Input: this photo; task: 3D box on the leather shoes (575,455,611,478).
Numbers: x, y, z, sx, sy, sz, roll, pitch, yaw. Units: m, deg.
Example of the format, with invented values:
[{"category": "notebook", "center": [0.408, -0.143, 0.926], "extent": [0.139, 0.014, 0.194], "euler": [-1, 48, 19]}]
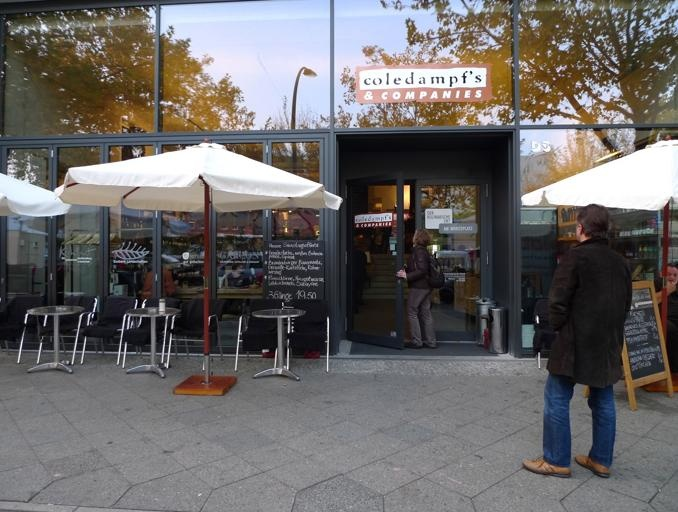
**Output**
[{"category": "leather shoes", "center": [2.382, 1.981, 5.437], "extent": [0.113, 0.121, 0.294], "euler": [-6, 13, -24]}]

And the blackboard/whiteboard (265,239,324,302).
[{"category": "blackboard/whiteboard", "center": [-0.660, 0.254, 8.852], "extent": [1.036, 0.930, 0.104], "euler": [0, -3, 5]}]

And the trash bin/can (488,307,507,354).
[{"category": "trash bin/can", "center": [2.492, 1.174, 9.075], "extent": [0.311, 0.693, 0.283], "euler": [4, 11, 19]}]

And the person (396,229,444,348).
[{"category": "person", "center": [1.337, 0.547, 9.543], "extent": [0.692, 1.916, 0.750], "euler": [3, 11, 14]}]

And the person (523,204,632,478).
[{"category": "person", "center": [2.252, 0.788, 5.379], "extent": [0.725, 2.496, 0.731], "euler": [5, 12, 26]}]

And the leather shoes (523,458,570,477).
[{"category": "leather shoes", "center": [1.931, 1.987, 5.408], "extent": [0.422, 0.153, 0.150], "euler": [4, -6, 22]}]

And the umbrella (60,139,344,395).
[{"category": "umbrella", "center": [-1.798, 0.271, 7.797], "extent": [3.526, 2.826, 3.322], "euler": [-1, -12, -2]}]
